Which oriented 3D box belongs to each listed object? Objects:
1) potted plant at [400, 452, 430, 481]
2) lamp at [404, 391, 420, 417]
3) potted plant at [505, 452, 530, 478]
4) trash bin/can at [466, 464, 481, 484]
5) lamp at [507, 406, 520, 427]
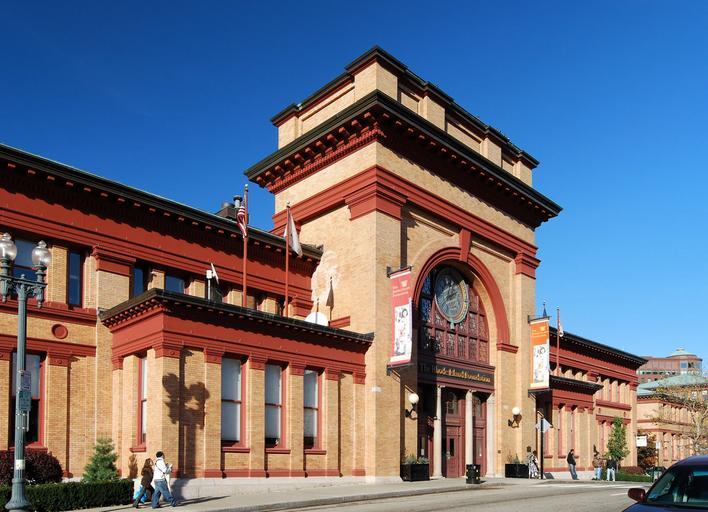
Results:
[{"bbox_3d":[3.330,11.222,53.358,1.159,1.846,1.832,-15,-20,42],"label":"potted plant"},{"bbox_3d":[3.046,7.962,54.219,0.708,1.365,1.611,11,0,5],"label":"lamp"},{"bbox_3d":[9.593,12.427,59.726,1.066,1.166,1.134,16,-20,-40],"label":"potted plant"},{"bbox_3d":[6.282,11.521,53.599,0.837,0.938,0.861,1,-7,-8],"label":"trash bin/can"},{"bbox_3d":[9.626,9.684,60.816,0.611,1.253,0.998,11,0,25],"label":"lamp"}]
